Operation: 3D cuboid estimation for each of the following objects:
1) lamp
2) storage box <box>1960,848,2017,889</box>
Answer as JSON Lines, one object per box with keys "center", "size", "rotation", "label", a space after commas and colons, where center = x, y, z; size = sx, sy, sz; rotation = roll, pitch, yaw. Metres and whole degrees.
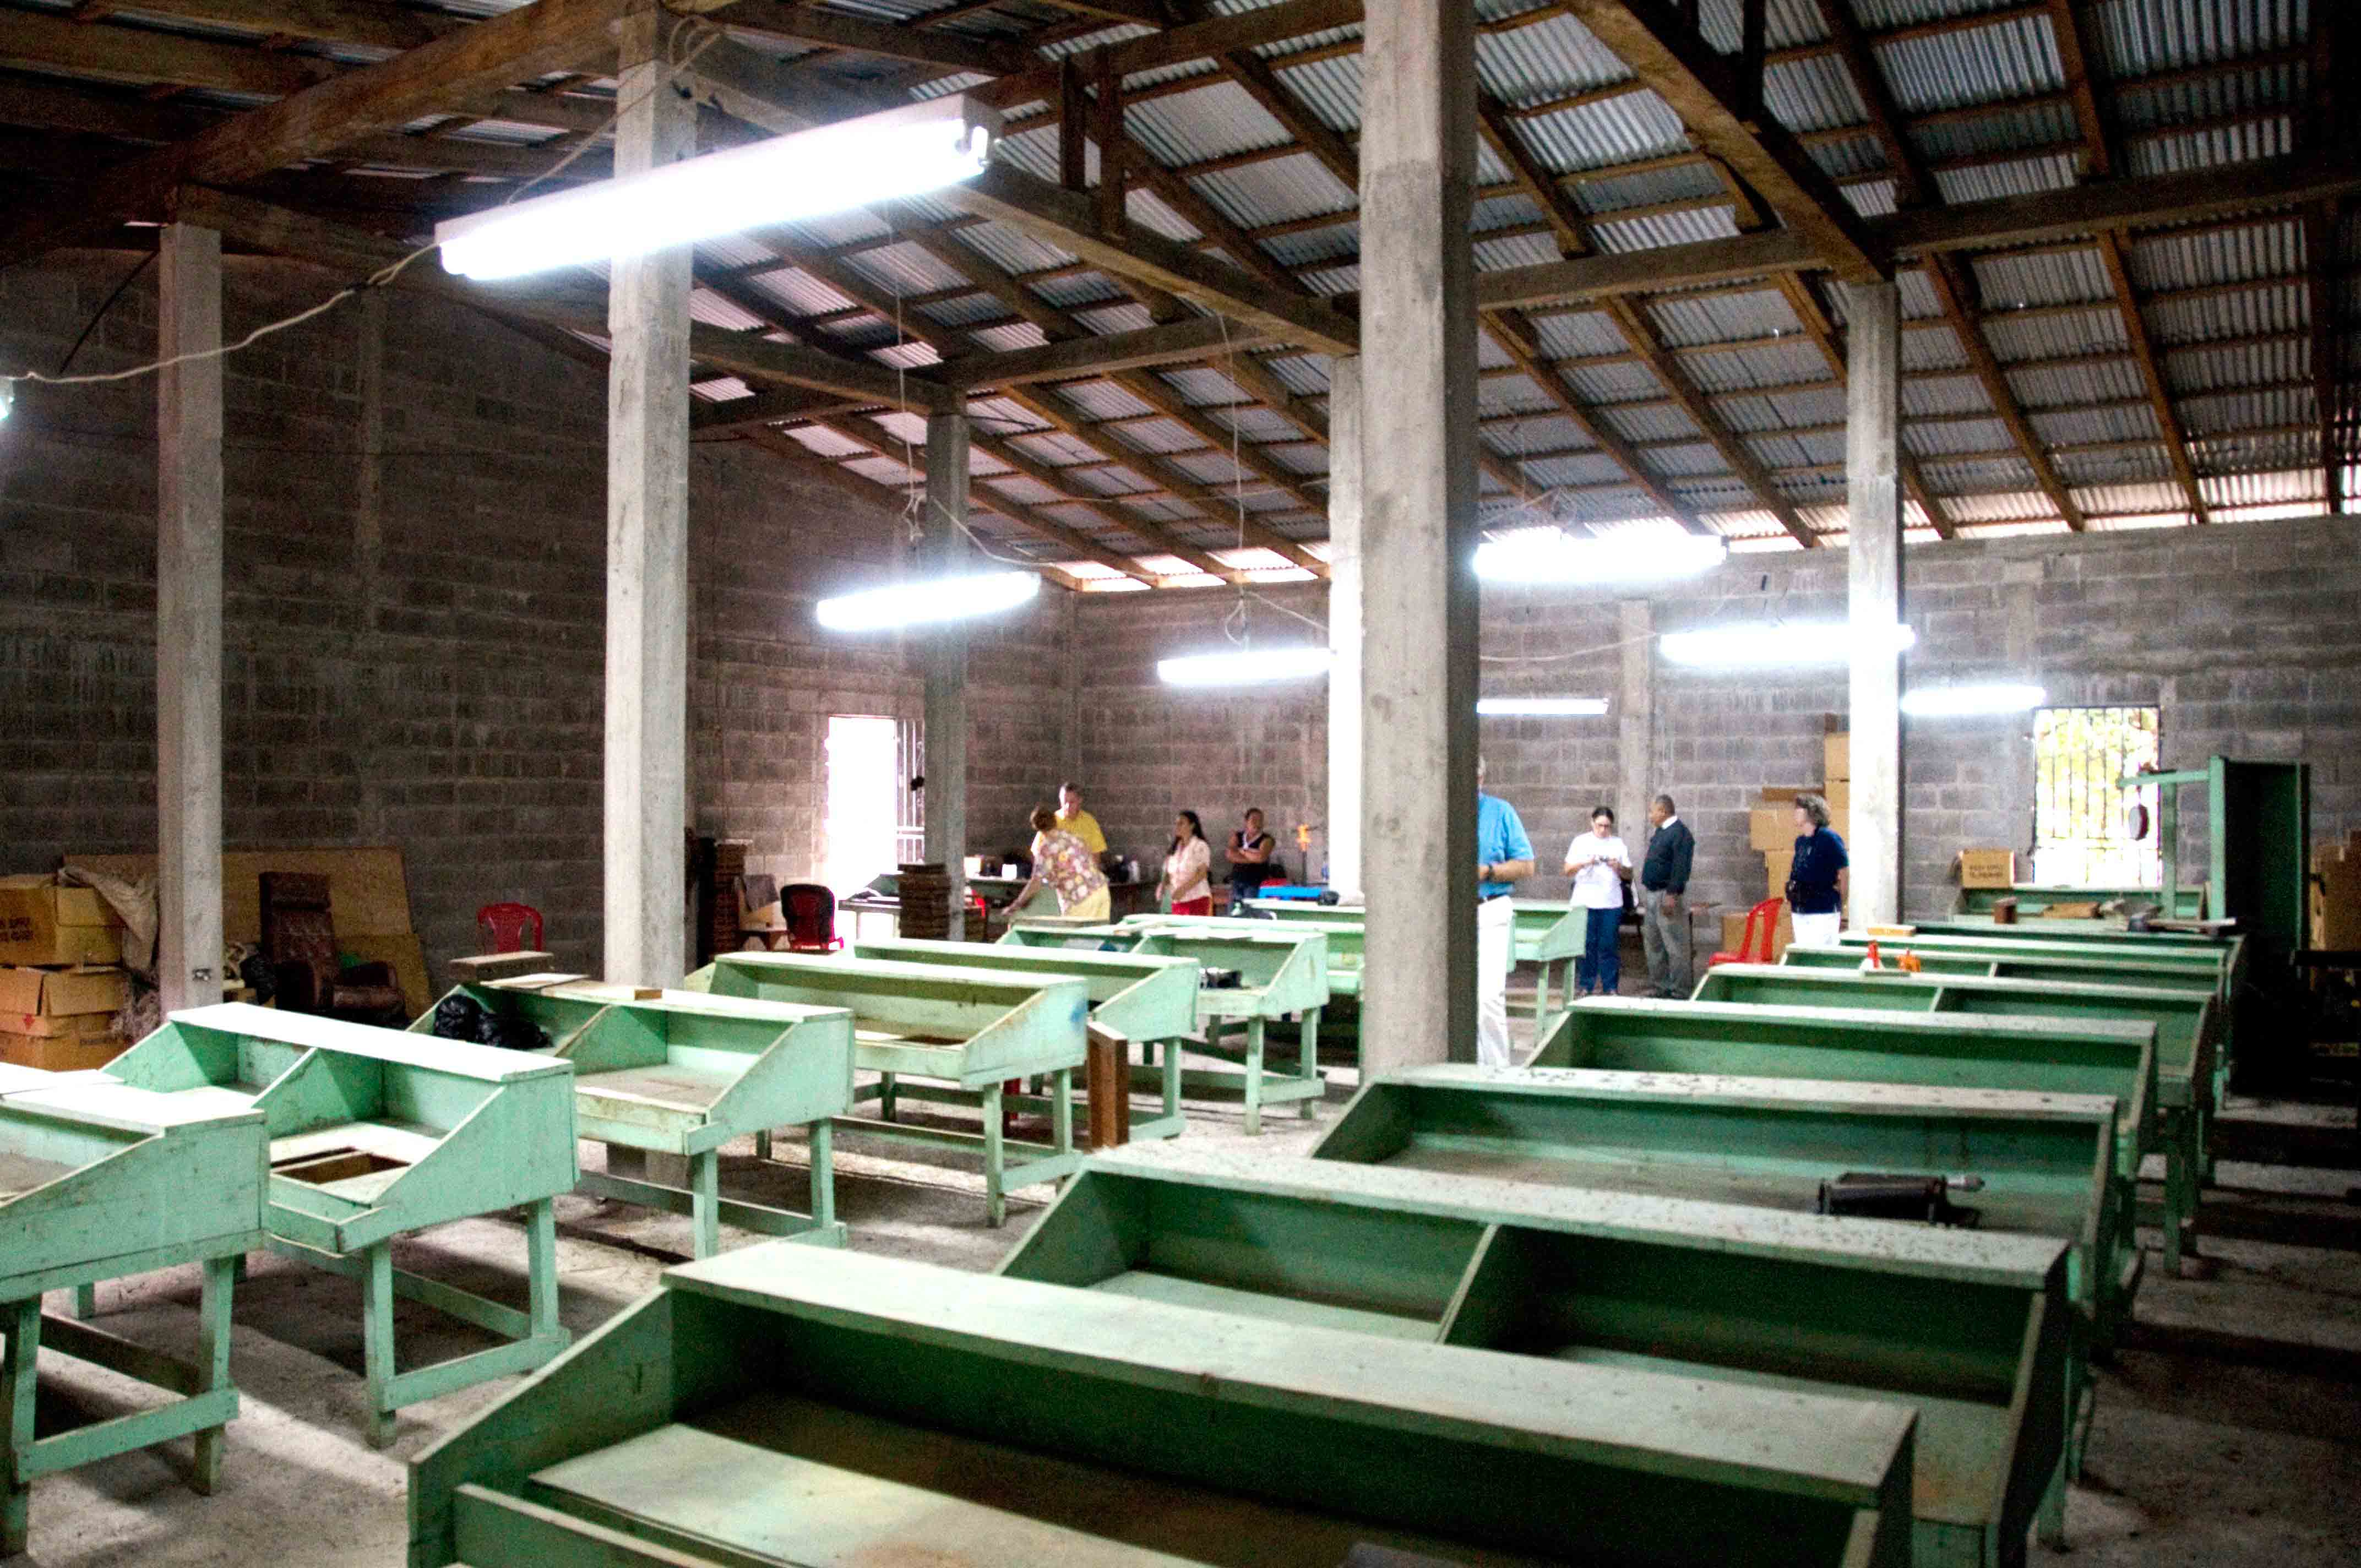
{"center": [-2.723, -3.459, 10.263], "size": [3.014, 0.338, 0.407], "rotation": [-2, 22, 21], "label": "lamp"}
{"center": [7.566, 0.757, 16.651], "size": [0.517, 0.277, 0.489], "rotation": [-1, 1, 21], "label": "storage box"}
